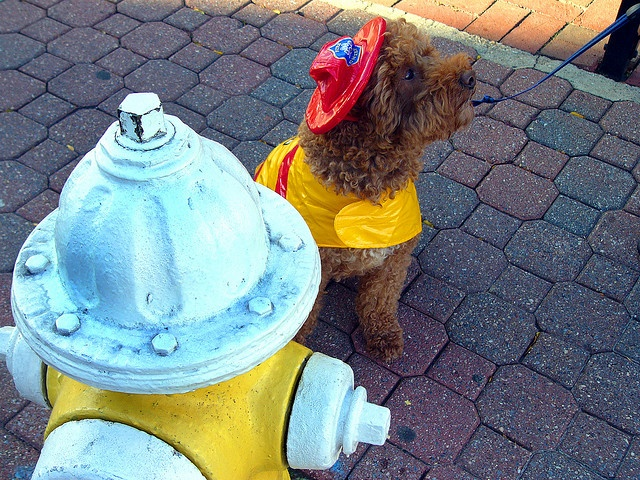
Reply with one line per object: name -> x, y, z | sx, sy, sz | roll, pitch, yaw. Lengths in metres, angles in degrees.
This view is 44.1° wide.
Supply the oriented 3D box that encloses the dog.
dog -> 0.183, -0.344, 4.179 | 0.991, 1.929, 0.869 | 7, 43, 4
